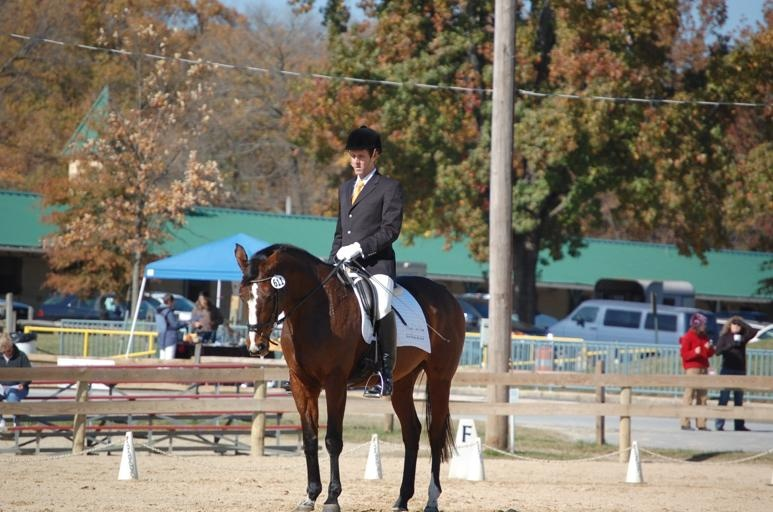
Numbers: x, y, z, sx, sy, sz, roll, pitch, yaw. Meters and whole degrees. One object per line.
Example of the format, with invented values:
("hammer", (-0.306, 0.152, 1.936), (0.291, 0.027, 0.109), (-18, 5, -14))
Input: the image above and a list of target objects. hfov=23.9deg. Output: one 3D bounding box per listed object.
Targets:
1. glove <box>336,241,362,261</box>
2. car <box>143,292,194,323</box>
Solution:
("glove", (-1.250, -0.081, 59.377), (0.734, 0.478, 0.302), (-19, -29, 15))
("car", (-9.637, 2.242, 80.398), (2.292, 1.193, 1.382), (-1, 0, 11))
